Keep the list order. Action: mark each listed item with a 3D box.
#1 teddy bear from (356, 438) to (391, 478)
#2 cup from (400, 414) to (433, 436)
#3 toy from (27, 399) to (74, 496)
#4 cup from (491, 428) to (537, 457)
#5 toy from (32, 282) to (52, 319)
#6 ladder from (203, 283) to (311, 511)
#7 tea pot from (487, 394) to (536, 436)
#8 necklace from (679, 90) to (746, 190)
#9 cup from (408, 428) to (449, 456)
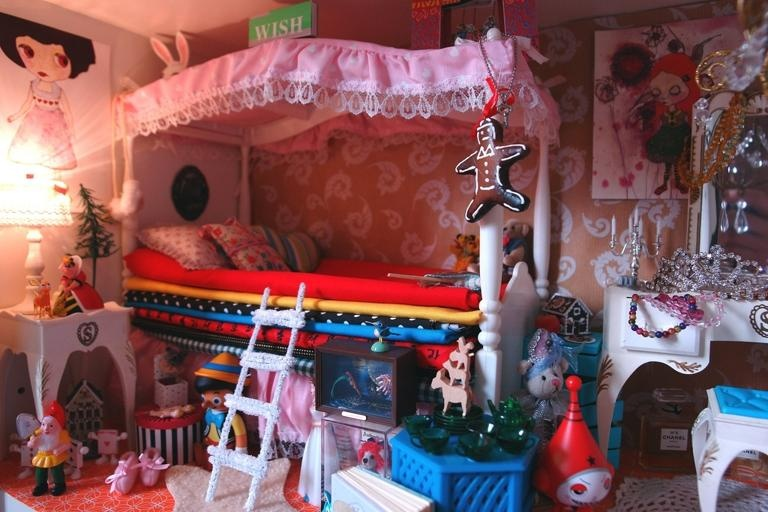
[{"bbox_3d":[-0.061,1.199,3.706,0.171,0.190,0.194,-5,-13,33],"label":"teddy bear"},{"bbox_3d":[0.183,0.963,3.576,0.117,0.084,0.103,-1,0,18],"label":"cup"},{"bbox_3d":[-2.074,1.183,3.872,0.237,0.565,0.233,3,-3,-27],"label":"toy"},{"bbox_3d":[0.735,1.028,3.483,0.241,0.134,0.128,1,-3,3],"label":"cup"},{"bbox_3d":[-2.216,0.286,4.040,0.100,0.207,0.187,3,-3,-29],"label":"toy"},{"bbox_3d":[-0.812,0.841,3.960,0.605,1.355,0.469,1,-3,1],"label":"ladder"},{"bbox_3d":[0.711,0.910,3.607,0.149,0.254,0.238,-2,-2,-45],"label":"tea pot"},{"bbox_3d":[2.145,-0.729,4.026,0.136,0.531,0.383,19,-3,-25],"label":"necklace"},{"bbox_3d":[0.265,1.029,3.478,0.160,0.078,0.119,-3,0,33],"label":"cup"}]
